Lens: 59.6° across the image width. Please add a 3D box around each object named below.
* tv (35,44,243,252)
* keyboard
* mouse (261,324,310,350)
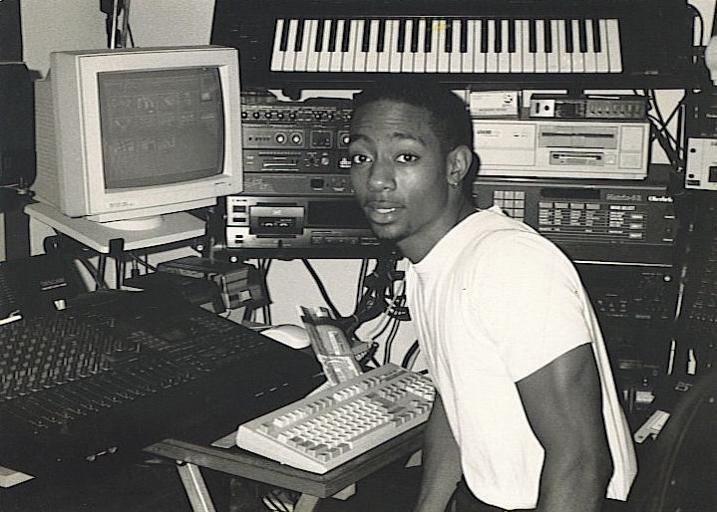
[{"bbox_3d":[-0.869,-0.399,2.141,0.571,0.585,0.734,12,22,22],"label":"tv"},{"bbox_3d":[0.009,0.424,1.547,0.353,0.623,0.089,-32,53,-10],"label":"keyboard"},{"bbox_3d":[-0.216,0.234,1.873,0.125,0.029,0.068,18,17,27],"label":"mouse"}]
